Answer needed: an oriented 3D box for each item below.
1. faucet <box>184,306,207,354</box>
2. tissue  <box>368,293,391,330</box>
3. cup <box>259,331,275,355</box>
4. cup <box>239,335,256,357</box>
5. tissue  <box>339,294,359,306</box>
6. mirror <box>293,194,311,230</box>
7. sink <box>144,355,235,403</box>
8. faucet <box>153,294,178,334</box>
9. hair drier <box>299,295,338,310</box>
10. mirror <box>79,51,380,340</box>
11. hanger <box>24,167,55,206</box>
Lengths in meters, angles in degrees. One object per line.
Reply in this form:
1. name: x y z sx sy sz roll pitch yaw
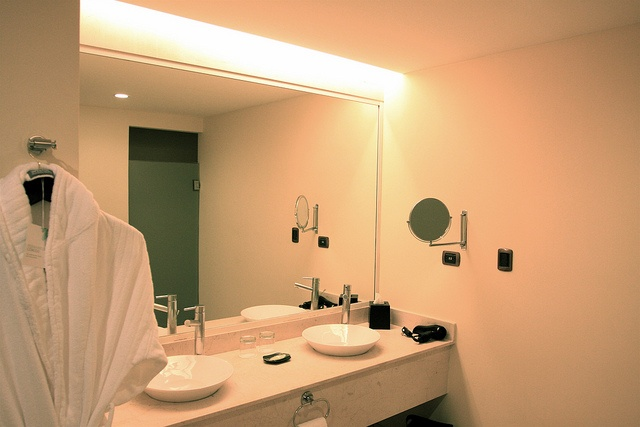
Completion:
1. faucet: -0.724 0.676 2.838 0.106 0.283 0.136 0 1 -44
2. tissue : 0.419 0.711 3.442 0.139 0.193 0.106 2 -5 4
3. cup: -0.335 0.808 3.017 0.102 0.104 0.104 0 0 0
4. cup: -0.434 0.788 2.889 0.107 0.108 0.110 1 -3 0
5. tissue : 0.199 0.615 3.481 0.078 0.041 0.112 0 0 41
6. mirror: -0.122 -0.001 3.286 0.021 0.249 0.193 2 5 24
7. sink: -0.683 0.877 2.566 0.436 0.152 0.412 1 0 -1
8. faucet: -0.889 0.584 2.801 0.122 0.229 0.041 1 1 -19
9. hair drier: -0.016 0.599 3.349 0.153 0.055 0.104 1 0 -38
10. mirror: -0.574 -0.125 2.878 1.816 1.392 0.024 2 -2 -32
11. hanger: -1.107 -0.106 1.904 0.104 0.149 0.043 1 0 -30
